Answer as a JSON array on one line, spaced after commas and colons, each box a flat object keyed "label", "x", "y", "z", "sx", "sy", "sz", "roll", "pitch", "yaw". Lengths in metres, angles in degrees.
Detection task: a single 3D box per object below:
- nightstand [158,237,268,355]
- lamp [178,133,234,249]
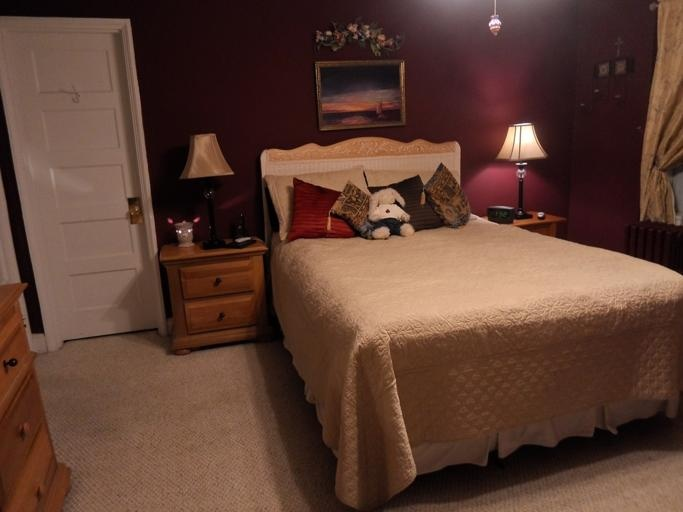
[{"label": "nightstand", "x": -0.970, "y": 0.240, "z": 4.344, "sx": 0.776, "sy": 0.863, "sz": 0.545, "roll": -7, "pitch": 26, "yaw": -14}, {"label": "lamp", "x": -1.024, "y": -0.518, "z": 4.254, "sx": 0.392, "sy": 0.843, "sz": 0.440, "roll": -6, "pitch": 19, "yaw": -11}]
